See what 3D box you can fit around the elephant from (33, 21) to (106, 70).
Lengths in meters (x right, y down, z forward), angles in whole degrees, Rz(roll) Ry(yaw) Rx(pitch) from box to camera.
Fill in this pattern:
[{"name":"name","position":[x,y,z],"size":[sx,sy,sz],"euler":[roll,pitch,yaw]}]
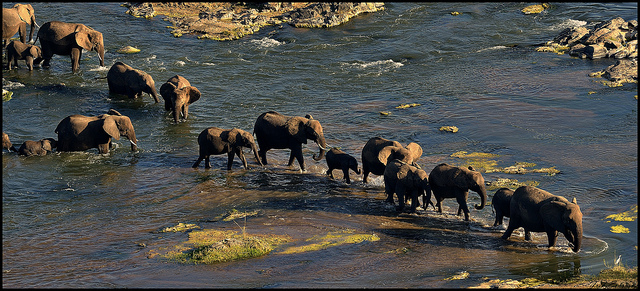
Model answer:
[{"name":"elephant","position":[-20.602,-8.198,83.033],"size":[4.892,3.894,1.823],"euler":[-2,7,-17]}]

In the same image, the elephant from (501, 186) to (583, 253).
[{"name":"elephant","position":[17.321,4.791,69.175],"size":[7.788,3.428,3.035],"euler":[3,8,30]}]
